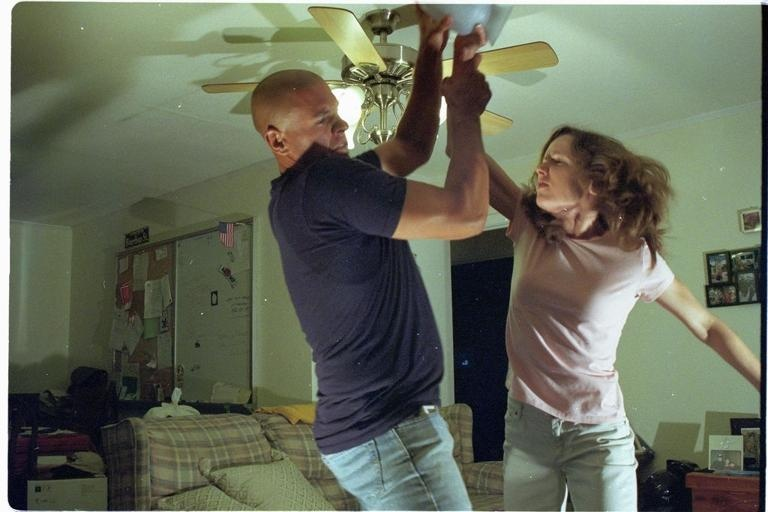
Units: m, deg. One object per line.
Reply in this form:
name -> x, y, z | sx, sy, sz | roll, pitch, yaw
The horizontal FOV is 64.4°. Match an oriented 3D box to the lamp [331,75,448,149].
lamp -> -0.026, -0.514, 2.214 | 0.405, 0.183, 0.375 | -1, -15, 0

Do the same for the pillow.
pillow -> -0.451, 0.724, 2.033 | 0.350, 0.094, 0.302 | 8, 15, 22

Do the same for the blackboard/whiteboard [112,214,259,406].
blackboard/whiteboard -> -0.657, 0.206, 2.060 | 0.686, 0.667, 0.035 | -5, -16, 13

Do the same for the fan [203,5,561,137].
fan -> 0.132, -0.675, 2.142 | 0.721, 0.302, 0.666 | 1, -19, 4

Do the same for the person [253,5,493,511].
person -> -0.035, 0.014, 1.623 | 0.659, 1.318, 0.302 | -2, -11, 9
